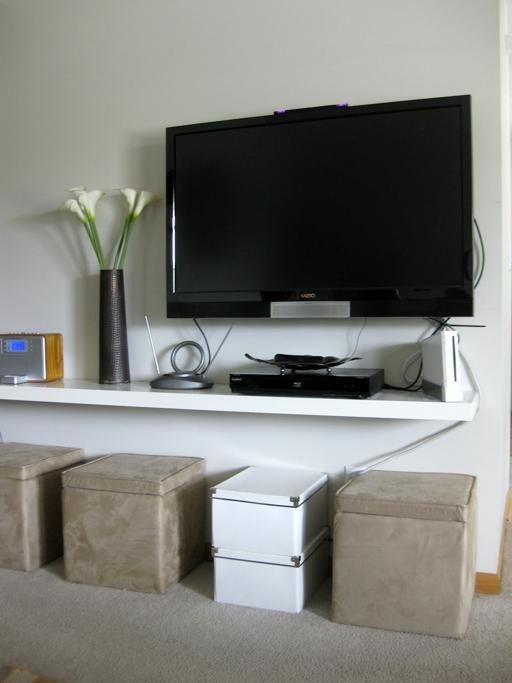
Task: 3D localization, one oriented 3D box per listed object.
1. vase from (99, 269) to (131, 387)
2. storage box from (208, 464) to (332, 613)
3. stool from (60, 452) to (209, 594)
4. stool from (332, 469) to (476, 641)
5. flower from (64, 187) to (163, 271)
[{"bbox_3d":[-0.539,-0.056,2.307,0.105,0.435,0.050,-1,1,-15],"label":"vase"},{"bbox_3d":[0.048,0.605,1.995,0.352,0.361,0.361,1,2,18],"label":"storage box"},{"bbox_3d":[-0.423,0.598,2.153,0.399,0.365,0.401,-1,-2,21],"label":"stool"},{"bbox_3d":[0.415,0.575,1.708,0.379,0.344,0.386,0,-4,16],"label":"stool"},{"bbox_3d":[-0.592,-0.437,2.412,0.368,0.415,0.184,-11,49,-19],"label":"flower"}]
